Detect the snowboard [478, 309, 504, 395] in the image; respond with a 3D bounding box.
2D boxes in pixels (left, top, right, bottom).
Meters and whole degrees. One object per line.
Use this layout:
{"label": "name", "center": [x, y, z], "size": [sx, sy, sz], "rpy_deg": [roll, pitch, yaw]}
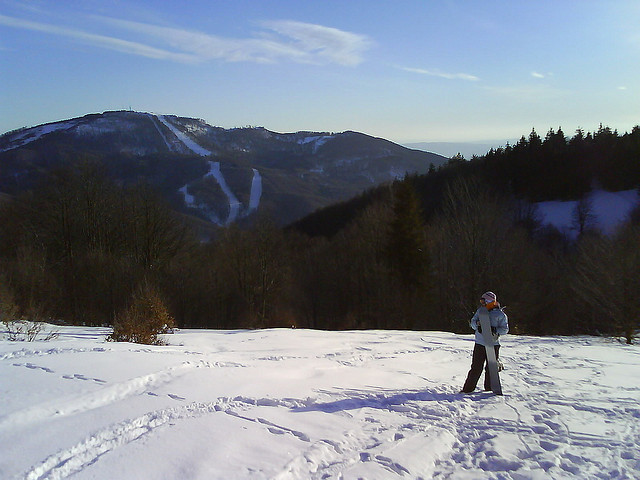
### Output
{"label": "snowboard", "center": [4.974, 3.340, 16.417], "size": [0.352, 3.655, 0.358], "rpy_deg": [-5, 10, 6]}
